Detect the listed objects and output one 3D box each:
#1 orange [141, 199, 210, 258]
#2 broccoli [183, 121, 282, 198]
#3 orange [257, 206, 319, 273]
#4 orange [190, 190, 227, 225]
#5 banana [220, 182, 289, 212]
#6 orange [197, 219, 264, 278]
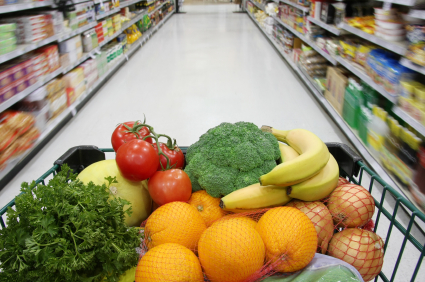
[{"bbox_3d":[-0.170,0.280,0.994,0.250,0.225,0.209,-7,-2,-28],"label":"orange"},{"bbox_3d":[0.107,0.032,1.146,0.350,0.212,0.381,16,48,36],"label":"broccoli"},{"bbox_3d":[0.263,0.352,0.902,0.205,0.152,0.187,-12,34,-15],"label":"orange"},{"bbox_3d":[-0.014,0.298,1.151,0.117,0.118,0.120,-22,33,28],"label":"orange"},{"bbox_3d":[0.181,0.235,1.024,0.232,0.071,0.083,-13,12,2],"label":"banana"},{"bbox_3d":[0.055,0.399,0.920,0.185,0.199,0.233,4,35,2],"label":"orange"}]
